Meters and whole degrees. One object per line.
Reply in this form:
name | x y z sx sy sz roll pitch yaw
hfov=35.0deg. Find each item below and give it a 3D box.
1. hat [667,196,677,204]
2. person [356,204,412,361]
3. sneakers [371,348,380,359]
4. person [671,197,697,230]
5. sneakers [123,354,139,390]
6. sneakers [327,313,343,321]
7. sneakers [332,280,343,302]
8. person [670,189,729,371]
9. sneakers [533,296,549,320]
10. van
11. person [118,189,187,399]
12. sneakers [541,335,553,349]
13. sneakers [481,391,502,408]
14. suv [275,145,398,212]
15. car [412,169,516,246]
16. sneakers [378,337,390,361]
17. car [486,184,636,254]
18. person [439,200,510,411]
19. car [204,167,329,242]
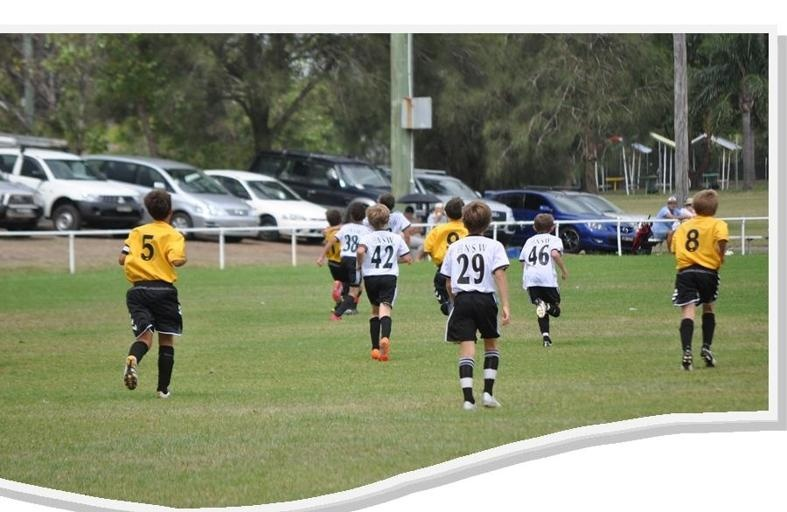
hat | 6.565 -1.340 29.388 0.163 0.136 0.188 4 -11 -1
person | -0.196 0.426 20.660 0.809 2.572 0.673 -1 5 -1
sneakers | -0.301 1.597 20.830 0.175 0.153 0.369 0 -7 -5
person | 5.818 -0.873 24.991 0.308 0.294 0.841 -4 -24 -13
sneakers | -3.880 1.677 18.454 0.206 0.532 0.274 -2 0 2
sneakers | -1.084 1.127 23.613 0.105 0.118 0.297 1 5 -16
sneakers | -1.070 0.620 22.587 0.150 0.410 0.190 -5 -9 17
person | 4.918 0.383 20.151 0.868 2.912 0.644 0 5 12
sneakers | 2.542 0.875 21.493 0.174 0.355 0.161 4 -6 -36
van | -5.461 -1.464 31.322 4.285 1.445 1.985 7 5 10
person | -3.633 0.579 18.874 0.936 3.183 1.131 -2 5 -12
sneakers | 2.668 1.466 21.740 0.180 0.217 0.514 -1 -7 8
sneakers | 1.480 2.137 18.650 0.141 0.157 0.386 4 -9 41
suv | -1.551 -2.020 32.874 2.731 1.245 1.498 3 9 19
car | 1.883 -1.362 33.104 3.173 1.279 1.444 16 12 39
sneakers | -0.157 1.512 20.557 0.157 0.396 0.205 1 16 1
car | 4.348 -0.959 32.805 1.543 1.139 3.432 1 5 -45
person | 1.248 0.712 18.711 1.160 3.051 0.988 -1 -3 15
car | -2.916 -1.342 31.934 3.462 1.199 1.556 8 8 31
